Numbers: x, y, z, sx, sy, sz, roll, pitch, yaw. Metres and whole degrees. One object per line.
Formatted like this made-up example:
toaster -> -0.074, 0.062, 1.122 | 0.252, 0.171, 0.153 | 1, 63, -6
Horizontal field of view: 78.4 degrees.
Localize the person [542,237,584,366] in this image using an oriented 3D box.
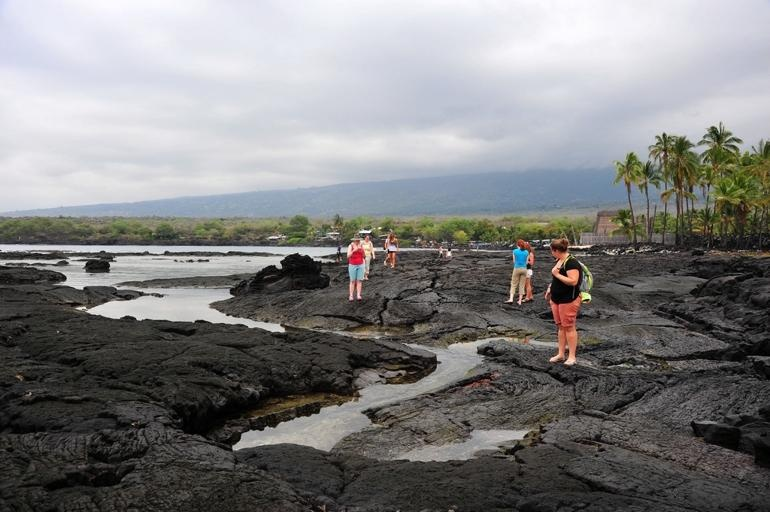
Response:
person -> 3.934, 0.992, 10.300 | 0.765, 2.780, 1.053 | -4, 11, 17
